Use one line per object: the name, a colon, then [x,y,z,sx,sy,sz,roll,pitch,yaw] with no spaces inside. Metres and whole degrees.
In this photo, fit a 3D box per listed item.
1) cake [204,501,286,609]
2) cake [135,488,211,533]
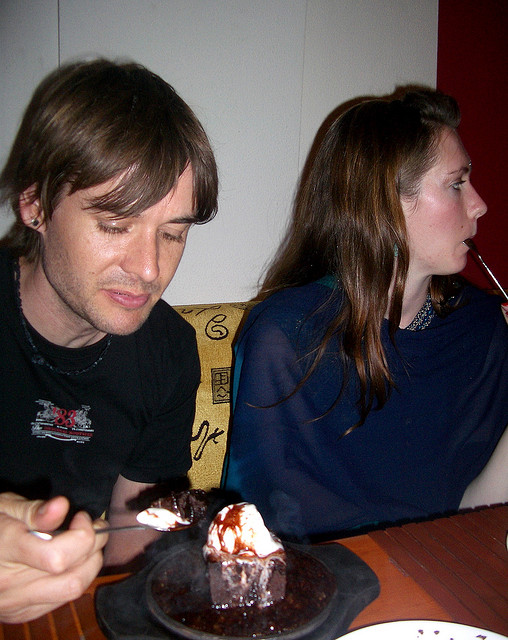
cake: [-0.022,0.398,0.986,0.102,0.120,0.129,-1,-23,-4]
cake: [-0.144,0.344,1.092,0.074,0.025,0.116,15,5,30]
